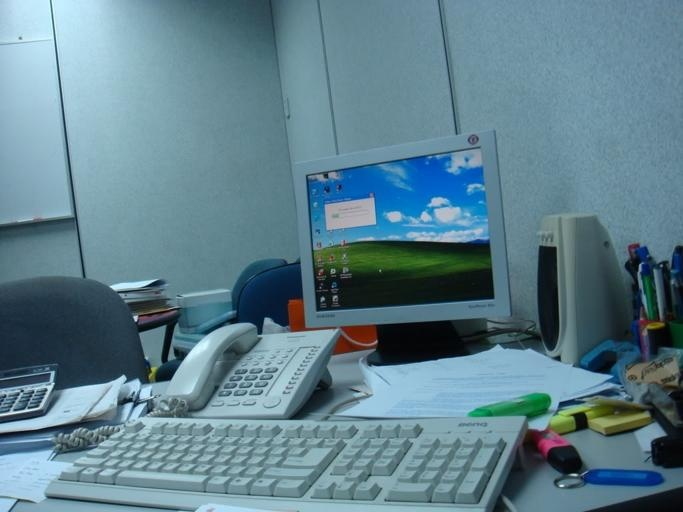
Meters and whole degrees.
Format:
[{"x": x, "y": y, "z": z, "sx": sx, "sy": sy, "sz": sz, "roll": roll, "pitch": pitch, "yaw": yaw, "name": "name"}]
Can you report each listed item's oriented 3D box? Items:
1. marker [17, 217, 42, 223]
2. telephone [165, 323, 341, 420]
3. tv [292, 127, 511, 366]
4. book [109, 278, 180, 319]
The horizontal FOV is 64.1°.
[{"x": -2.049, "y": -0.227, "z": 3.591, "sx": 0.146, "sy": 0.029, "sz": 0.045, "roll": -11, "pitch": 8, "yaw": -21, "name": "marker"}, {"x": -0.182, "y": 0.238, "z": 1.132, "sx": 0.340, "sy": 0.148, "sz": 0.342, "roll": -5, "pitch": 3, "yaw": -6, "name": "telephone"}, {"x": 0.158, "y": -0.005, "z": 1.338, "sx": 0.484, "sy": 0.488, "sz": 0.159, "roll": -6, "pitch": -2, "yaw": 14, "name": "tv"}, {"x": -0.876, "y": 0.165, "z": 2.401, "sx": 0.285, "sy": 0.187, "sz": 0.244, "roll": 2, "pitch": 4, "yaw": 2, "name": "book"}]
